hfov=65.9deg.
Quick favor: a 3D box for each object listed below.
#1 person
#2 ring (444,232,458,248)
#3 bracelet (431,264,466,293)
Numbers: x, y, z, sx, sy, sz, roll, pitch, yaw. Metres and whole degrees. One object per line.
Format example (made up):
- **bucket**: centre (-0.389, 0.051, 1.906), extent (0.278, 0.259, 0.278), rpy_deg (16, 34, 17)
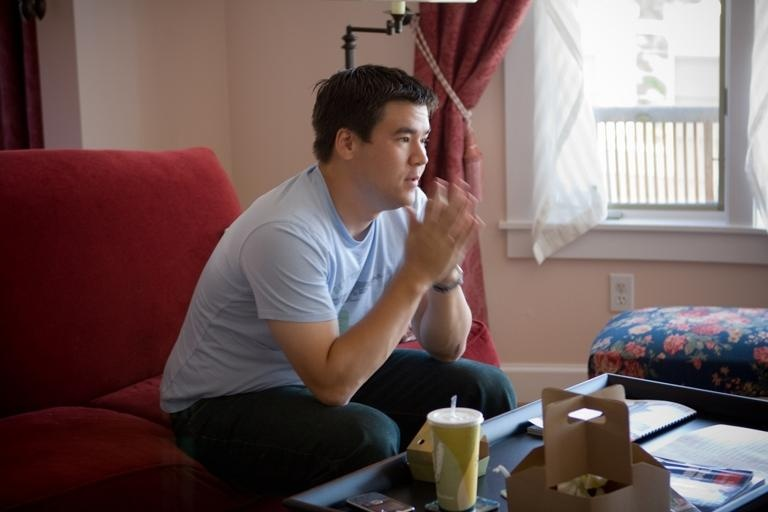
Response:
- **person**: centre (-0.163, 0.251, 1.683), extent (0.872, 1.481, 0.736), rpy_deg (4, 7, 19)
- **ring**: centre (0.166, -0.039, 1.437), extent (0.024, 0.027, 0.007), rpy_deg (-3, 4, -34)
- **bracelet**: centre (0.195, 0.076, 1.748), extent (0.086, 0.091, 0.067), rpy_deg (34, -20, -15)
